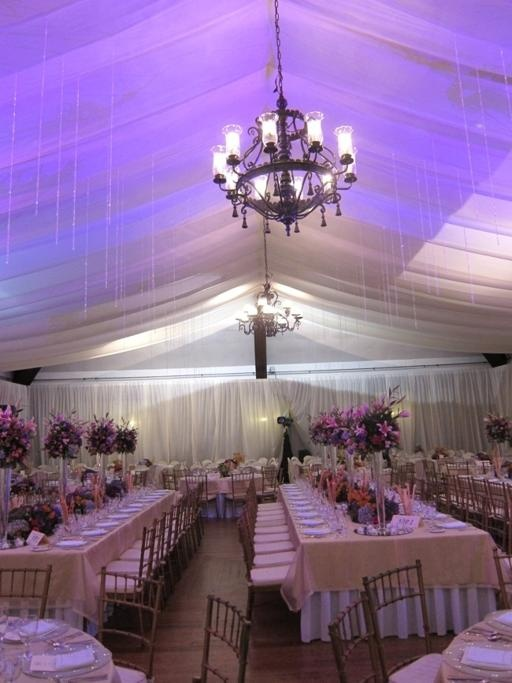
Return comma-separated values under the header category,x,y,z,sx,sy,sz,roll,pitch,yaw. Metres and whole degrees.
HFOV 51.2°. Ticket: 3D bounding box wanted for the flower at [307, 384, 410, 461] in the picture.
category,x,y,z,sx,sy,sz,roll,pitch,yaw
flower,0.950,0.763,4.767,1.067,0.820,1.080,-3,-6,15
